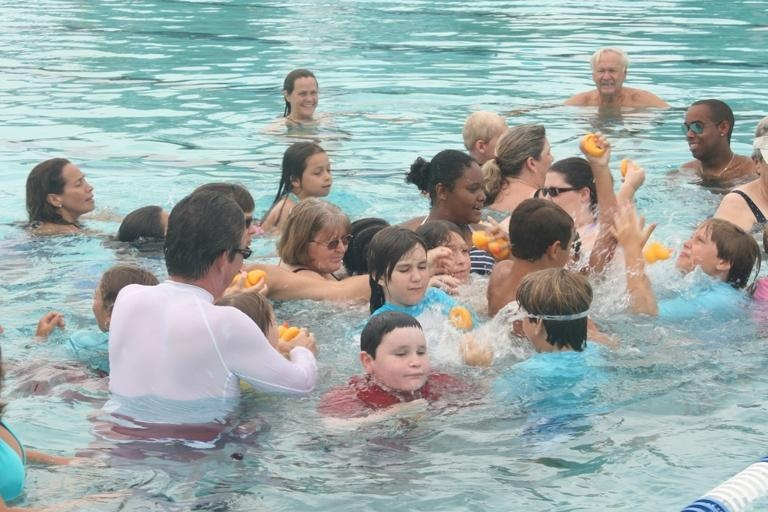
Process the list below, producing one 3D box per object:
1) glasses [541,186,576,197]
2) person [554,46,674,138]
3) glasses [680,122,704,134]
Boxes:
[{"bbox_3d":[1.937,-0.715,8.247,0.366,0.116,0.095,8,16,31],"label":"glasses"},{"bbox_3d":[4.688,-3.384,14.830,2.541,1.191,1.009,8,23,32],"label":"person"},{"bbox_3d":[4.607,-1.889,10.963,0.261,0.074,0.230,2,-1,-35],"label":"glasses"}]
